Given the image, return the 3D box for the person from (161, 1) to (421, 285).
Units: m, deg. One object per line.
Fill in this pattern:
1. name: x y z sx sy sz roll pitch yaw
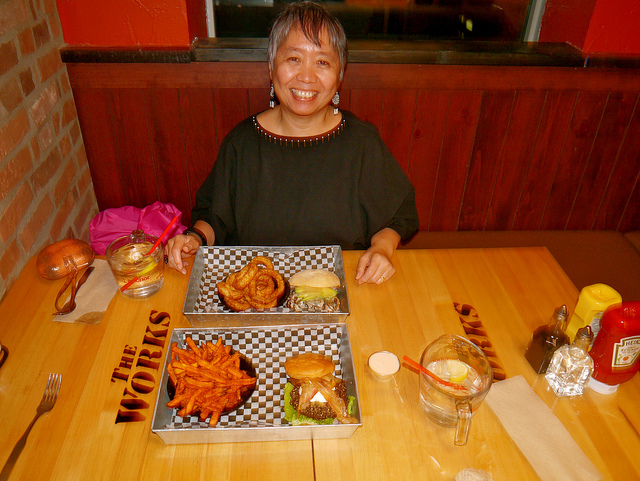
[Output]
1. person: -0.096 -0.486 2.566 1.440 1.407 0.952 1 35 -2

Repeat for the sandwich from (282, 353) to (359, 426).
1. sandwich: -0.001 0.591 1.742 0.278 0.148 0.291 1 36 -2

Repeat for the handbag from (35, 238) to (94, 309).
1. handbag: -1.269 0.172 2.238 0.265 0.140 0.396 -5 65 -20

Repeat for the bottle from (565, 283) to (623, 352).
1. bottle: 1.141 0.332 1.859 0.156 0.308 0.169 0 19 0

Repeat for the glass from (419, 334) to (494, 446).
1. glass: 0.536 0.560 1.815 0.254 0.283 0.417 0 43 -1

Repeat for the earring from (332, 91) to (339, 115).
1. earring: 0.098 -0.851 2.799 0.028 0.128 0.064 -5 35 -10

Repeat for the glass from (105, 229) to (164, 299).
1. glass: -0.898 0.110 2.206 0.253 0.206 0.304 -17 40 -25

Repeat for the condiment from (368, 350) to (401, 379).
1. condiment: 0.272 0.529 1.903 0.133 0.048 0.116 7 36 5

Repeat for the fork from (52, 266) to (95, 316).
1. fork: -1.186 0.238 2.170 0.094 0.037 0.320 3 37 0

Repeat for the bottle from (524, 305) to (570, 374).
1. bottle: 0.997 0.411 1.912 0.148 0.326 0.157 1 32 -1

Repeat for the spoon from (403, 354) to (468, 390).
1. spoon: 0.475 0.527 1.788 0.326 0.050 0.044 26 8 -35

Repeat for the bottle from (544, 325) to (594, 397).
1. bottle: 1.026 0.484 1.796 0.158 0.297 0.136 28 42 32

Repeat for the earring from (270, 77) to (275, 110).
1. earring: -0.290 -0.861 2.761 0.027 0.136 0.048 -8 36 -14
